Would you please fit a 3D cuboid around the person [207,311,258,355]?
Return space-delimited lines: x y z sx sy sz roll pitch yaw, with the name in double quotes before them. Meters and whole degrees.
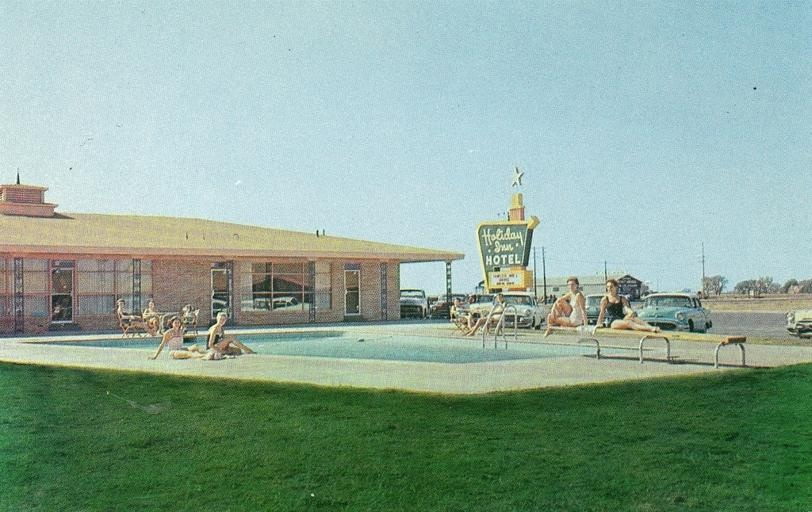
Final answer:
"person" -5.091 2.191 22.931 1.027 1.307 3.405 2 -8 -13

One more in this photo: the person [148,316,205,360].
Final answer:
"person" -6.097 2.268 21.496 1.498 0.857 1.141 3 3 32

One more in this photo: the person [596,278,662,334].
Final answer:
"person" 5.624 1.311 20.424 0.777 1.284 1.875 -11 9 -25
